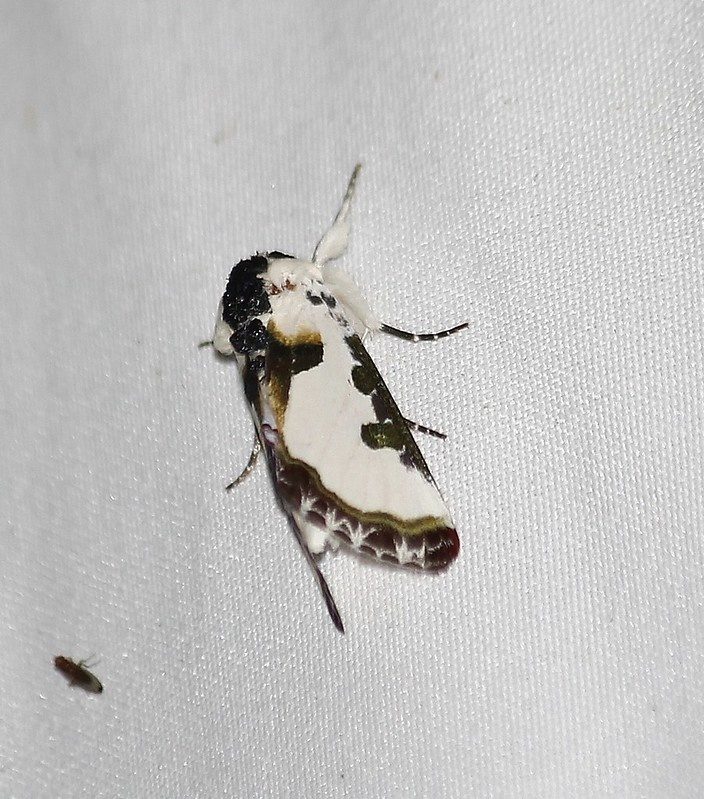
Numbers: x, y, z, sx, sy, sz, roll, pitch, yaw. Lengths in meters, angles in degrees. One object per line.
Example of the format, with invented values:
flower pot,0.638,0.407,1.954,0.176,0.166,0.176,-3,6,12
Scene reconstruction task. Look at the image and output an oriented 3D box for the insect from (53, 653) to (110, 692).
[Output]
insect,-0.428,0.422,1.794,0.069,0.048,0.019,37,-10,-4
